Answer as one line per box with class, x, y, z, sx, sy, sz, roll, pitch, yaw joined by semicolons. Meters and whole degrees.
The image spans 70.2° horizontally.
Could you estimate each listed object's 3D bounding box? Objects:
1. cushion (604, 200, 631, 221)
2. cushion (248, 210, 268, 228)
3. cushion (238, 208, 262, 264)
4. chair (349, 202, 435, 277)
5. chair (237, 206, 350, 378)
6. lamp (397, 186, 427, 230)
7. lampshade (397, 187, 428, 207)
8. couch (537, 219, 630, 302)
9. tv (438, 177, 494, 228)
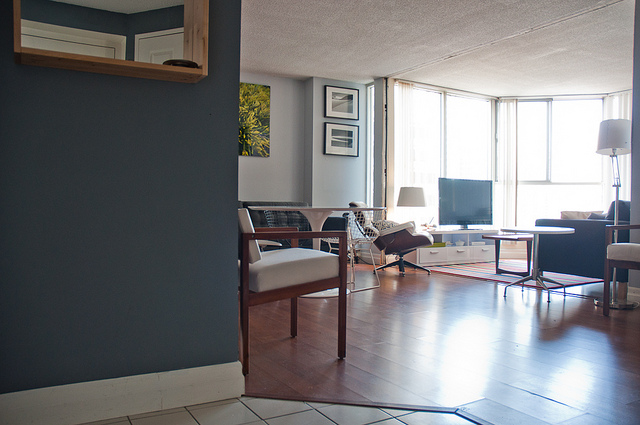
cushion;3.089;-0.027;4.756;0.238;0.196;0.070;7;-33;32
cushion;-0.812;0.069;6.044;0.245;0.209;0.056;-5;-10;-23
cushion;-0.443;0.133;2.873;0.139;0.337;0.228;-1;7;-9
chair;0.926;0.330;6.016;1.065;0.929;0.907;-7;-1;9
chair;-0.336;0.477;3.129;0.800;0.971;0.756;0;0;-35
lamp;1.397;-0.087;6.943;0.489;0.625;0.460;2;5;16
lampshade;1.366;-0.240;6.846;0.342;0.196;0.326;0;-4;-3
couch;3.209;0.529;5.426;0.856;0.890;1.552;21;8;36
tv;2.360;-0.148;7.301;0.155;0.790;1.180;-4;5;-26
